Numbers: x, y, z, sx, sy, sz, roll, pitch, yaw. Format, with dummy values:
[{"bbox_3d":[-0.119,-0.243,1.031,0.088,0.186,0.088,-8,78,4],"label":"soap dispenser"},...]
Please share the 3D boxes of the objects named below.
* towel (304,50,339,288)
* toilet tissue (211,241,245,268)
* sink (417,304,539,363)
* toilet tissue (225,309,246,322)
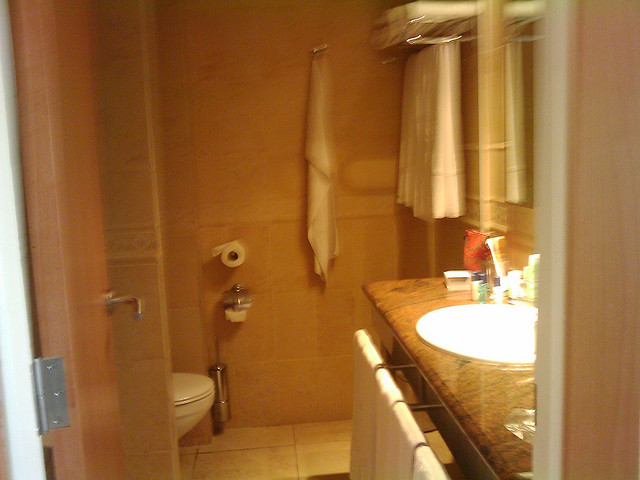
[{"bbox_3d":[-0.014,-0.298,2.649,0.192,1.059,0.188,-3,13,-9],"label":"towel"},{"bbox_3d":[-0.411,0.066,2.594,0.153,0.109,0.070,-2,5,25],"label":"toilet tissue"},{"bbox_3d":[0.361,0.225,1.384,0.276,0.089,0.396,-3,4,17],"label":"sink"},{"bbox_3d":[-0.373,0.340,2.583,0.062,0.036,0.059,0,2,-3],"label":"toilet tissue"}]
